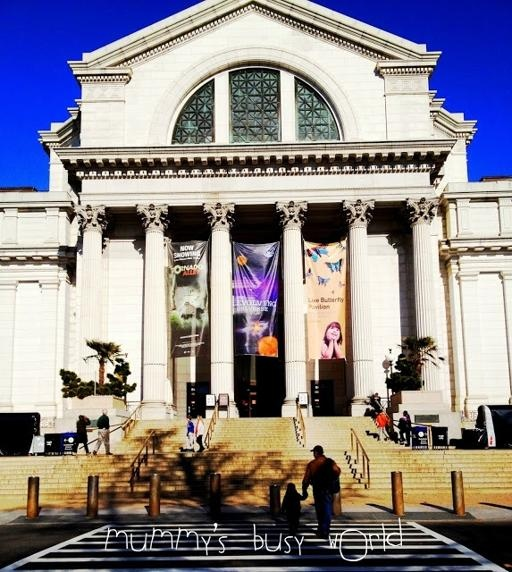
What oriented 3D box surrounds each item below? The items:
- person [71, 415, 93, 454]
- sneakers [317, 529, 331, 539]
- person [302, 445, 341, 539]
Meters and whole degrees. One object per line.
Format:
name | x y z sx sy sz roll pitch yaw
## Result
person | -6.218 5.248 27.597 0.547 1.338 2.709 2 -11 -12
sneakers | 1.250 4.551 14.249 0.288 0.251 0.139 -1 -35 4
person | 1.235 3.818 14.435 0.680 1.616 0.890 -1 -12 4
